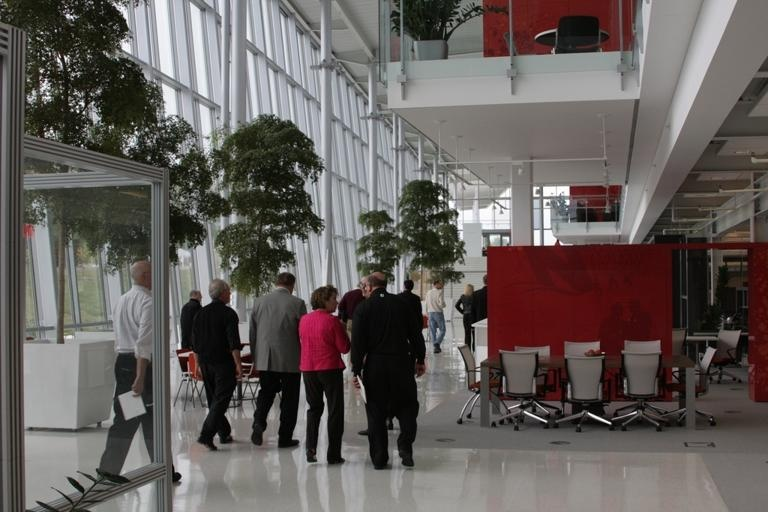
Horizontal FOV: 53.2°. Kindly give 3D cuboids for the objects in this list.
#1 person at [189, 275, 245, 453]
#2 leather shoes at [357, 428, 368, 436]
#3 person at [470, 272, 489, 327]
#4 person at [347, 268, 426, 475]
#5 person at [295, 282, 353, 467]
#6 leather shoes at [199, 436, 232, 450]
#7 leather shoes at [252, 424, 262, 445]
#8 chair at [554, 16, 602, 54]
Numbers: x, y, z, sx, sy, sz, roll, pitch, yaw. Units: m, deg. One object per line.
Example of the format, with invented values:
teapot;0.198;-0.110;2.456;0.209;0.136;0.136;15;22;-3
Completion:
person;-2.010;1.366;9.355;0.759;2.090;0.391;2;3;32
leather shoes;-0.291;2.385;10.300;0.166;0.075;0.065;-1;-11;18
person;1.934;0.975;15.612;0.270;0.848;0.649;0;2;-2
person;0.033;1.432;8.764;0.804;2.007;0.358;1;2;5
person;-0.706;1.395;8.890;0.607;2.065;0.374;1;2;4
leather shoes;-2.115;2.333;9.467;0.285;0.117;0.186;5;-12;-22
leather shoes;-1.605;2.190;9.376;0.111;0.249;0.224;2;-5;-4
chair;3.107;-3.495;12.259;0.612;0.595;0.501;0;11;16
